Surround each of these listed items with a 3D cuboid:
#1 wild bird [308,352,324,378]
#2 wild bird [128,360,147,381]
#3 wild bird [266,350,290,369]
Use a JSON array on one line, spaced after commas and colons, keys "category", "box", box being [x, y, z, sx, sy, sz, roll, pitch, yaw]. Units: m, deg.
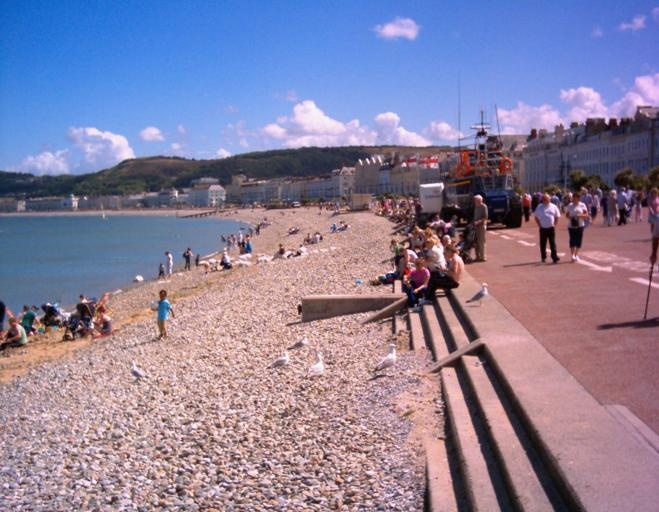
[{"category": "wild bird", "box": [-0.289, 2.051, 10.872, 0.162, 0.461, 0.560, 0, 5, 14]}, {"category": "wild bird", "box": [-4.155, 2.447, 12.435, 0.136, 0.360, 0.431, -22, 32, -36]}, {"category": "wild bird", "box": [-1.024, 2.082, 11.806, 0.474, 0.386, 0.277, -14, 13, -13]}]
